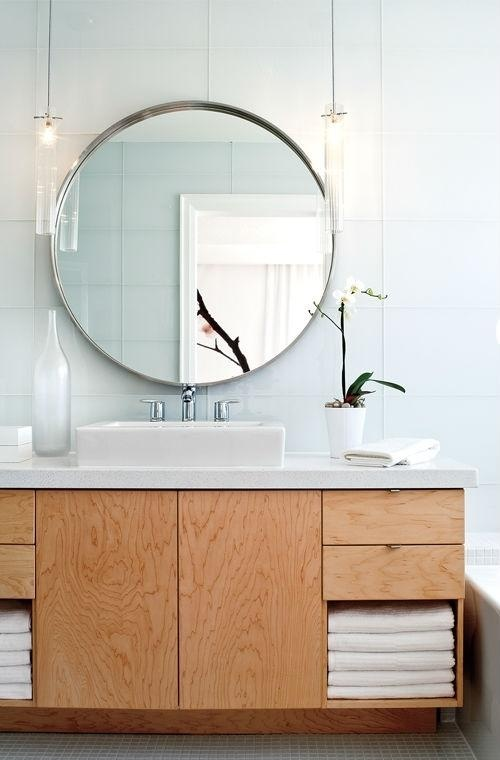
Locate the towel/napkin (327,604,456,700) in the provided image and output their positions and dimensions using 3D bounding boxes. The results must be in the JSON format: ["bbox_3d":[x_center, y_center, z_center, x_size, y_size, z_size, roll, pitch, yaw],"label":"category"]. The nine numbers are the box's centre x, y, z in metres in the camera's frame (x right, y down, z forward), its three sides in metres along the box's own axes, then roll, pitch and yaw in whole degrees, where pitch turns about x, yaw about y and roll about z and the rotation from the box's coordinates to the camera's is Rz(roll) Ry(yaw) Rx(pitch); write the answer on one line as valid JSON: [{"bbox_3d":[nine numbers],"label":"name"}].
[{"bbox_3d":[0.357,0.670,1.974,0.240,0.172,0.252,-1,-2,-1],"label":"towel/napkin"}]

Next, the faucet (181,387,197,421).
[{"bbox_3d":[-0.185,0.071,2.272,0.041,0.108,0.107,0,0,-5],"label":"faucet"}]

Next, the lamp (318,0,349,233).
[{"bbox_3d":[0.246,-0.793,2.211,0.075,0.682,0.255,0,0,7],"label":"lamp"}]

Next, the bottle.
[{"bbox_3d":[-0.569,0.015,2.156,0.101,0.417,0.055,0,0,-24],"label":"bottle"}]

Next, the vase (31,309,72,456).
[{"bbox_3d":[-0.569,0.015,2.156,0.101,0.417,0.055,0,0,-24],"label":"vase"}]

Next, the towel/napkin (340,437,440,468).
[{"bbox_3d":[0.374,0.194,2.026,0.180,0.070,0.267,0,0,37],"label":"towel/napkin"}]

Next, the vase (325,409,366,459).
[{"bbox_3d":[0.260,0.151,2.122,0.123,0.149,0.126,1,-3,-7],"label":"vase"}]

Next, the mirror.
[{"bbox_3d":[-0.178,-0.436,2.291,0.793,0.888,0.034,0,2,0],"label":"mirror"}]
